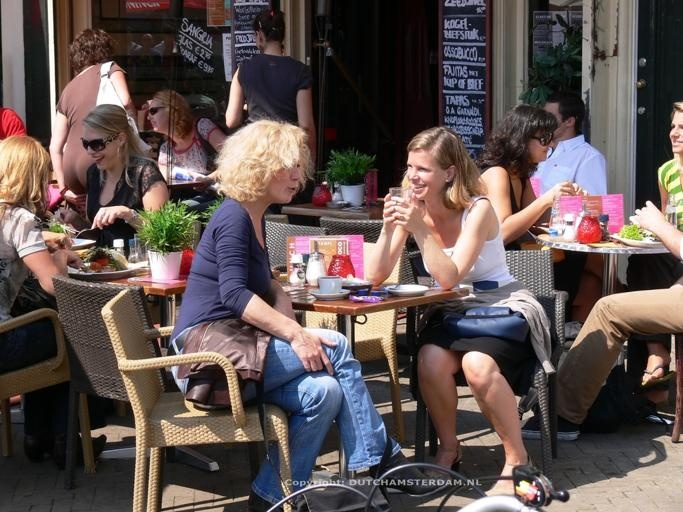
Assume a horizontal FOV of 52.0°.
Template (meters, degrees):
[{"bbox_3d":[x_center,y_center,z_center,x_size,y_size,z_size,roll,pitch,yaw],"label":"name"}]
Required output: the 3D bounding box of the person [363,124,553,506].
[{"bbox_3d":[0.654,0.252,3.630,0.782,1.880,0.855,-5,7,-37],"label":"person"}]

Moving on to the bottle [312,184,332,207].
[{"bbox_3d":[-0.158,-0.475,5.463,0.150,0.163,0.161,1,-2,8],"label":"bottle"}]

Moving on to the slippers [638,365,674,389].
[{"bbox_3d":[1.871,0.725,4.214,0.217,0.062,0.087,-33,18,20],"label":"slippers"}]

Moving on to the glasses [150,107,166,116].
[{"bbox_3d":[-1.543,-1.215,5.842,0.168,0.063,0.054,11,16,39],"label":"glasses"}]

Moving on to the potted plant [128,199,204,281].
[{"bbox_3d":[-0.896,-0.101,3.751,0.301,0.413,0.365,7,5,34],"label":"potted plant"}]

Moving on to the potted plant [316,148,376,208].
[{"bbox_3d":[0.049,-0.604,5.547,0.343,0.390,0.337,-17,18,-24],"label":"potted plant"}]

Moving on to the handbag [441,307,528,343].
[{"bbox_3d":[0.701,0.329,3.414,0.413,0.148,0.110,2,12,5],"label":"handbag"}]

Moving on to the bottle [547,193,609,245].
[{"bbox_3d":[1.465,-0.239,4.383,0.297,0.294,0.320,0,1,-6],"label":"bottle"}]
